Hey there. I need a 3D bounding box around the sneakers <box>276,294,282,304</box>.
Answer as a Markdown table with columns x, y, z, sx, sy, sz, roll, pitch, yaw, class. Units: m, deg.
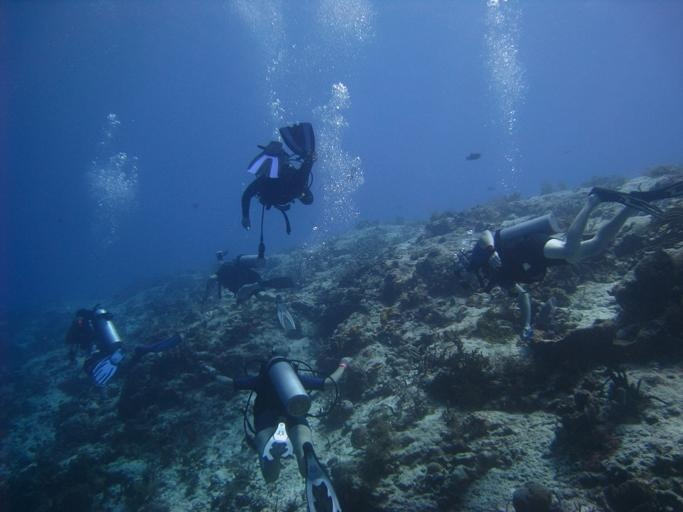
| x | y | z | sx | sy | sz | roll | pitch | yaw | class |
| --- | --- | --- | --- | --- | --- | --- | --- | --- | --- |
| -2.124 | 1.481 | 19.329 | 0.264 | 0.160 | 0.630 | -18 | 0 | -10 | sneakers |
